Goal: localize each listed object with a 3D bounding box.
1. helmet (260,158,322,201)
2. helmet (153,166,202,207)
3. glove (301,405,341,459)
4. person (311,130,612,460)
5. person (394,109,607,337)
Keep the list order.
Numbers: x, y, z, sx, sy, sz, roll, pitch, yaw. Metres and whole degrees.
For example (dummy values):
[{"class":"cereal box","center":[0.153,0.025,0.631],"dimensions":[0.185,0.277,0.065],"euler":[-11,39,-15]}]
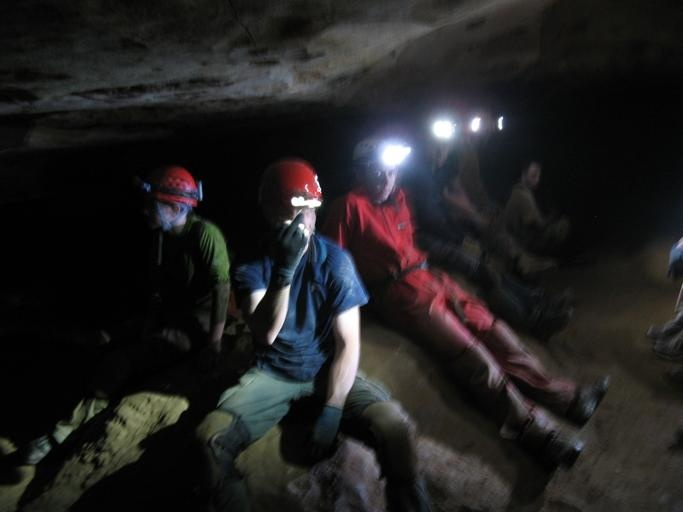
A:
[{"class":"helmet","center":[-0.246,-0.370,2.699],"dimensions":[0.200,0.182,0.213],"euler":[5,17,27]},{"class":"helmet","center":[-0.771,-0.327,2.680],"dimensions":[0.196,0.132,0.156],"euler":[11,18,15]},{"class":"glove","center":[-0.087,0.882,2.801],"dimensions":[0.124,0.260,0.082],"euler":[13,-12,17]},{"class":"person","center":[0.523,0.450,3.452],"dimensions":[2.210,1.002,1.109],"euler":[48,44,8]},{"class":"person","center":[0.900,0.060,3.820],"dimensions":[0.891,1.521,0.753],"euler":[-34,4,-20]}]
